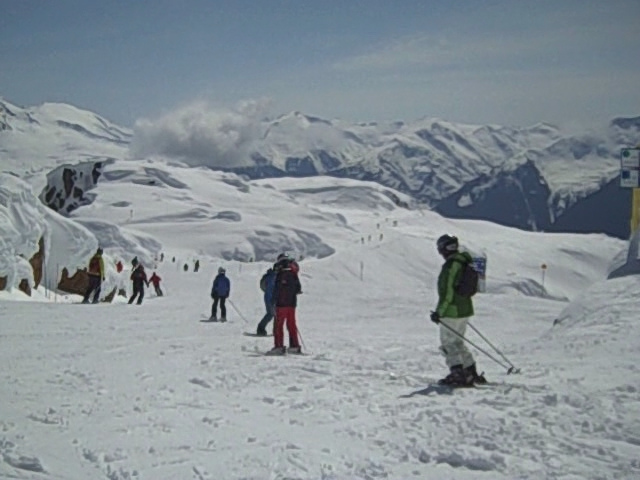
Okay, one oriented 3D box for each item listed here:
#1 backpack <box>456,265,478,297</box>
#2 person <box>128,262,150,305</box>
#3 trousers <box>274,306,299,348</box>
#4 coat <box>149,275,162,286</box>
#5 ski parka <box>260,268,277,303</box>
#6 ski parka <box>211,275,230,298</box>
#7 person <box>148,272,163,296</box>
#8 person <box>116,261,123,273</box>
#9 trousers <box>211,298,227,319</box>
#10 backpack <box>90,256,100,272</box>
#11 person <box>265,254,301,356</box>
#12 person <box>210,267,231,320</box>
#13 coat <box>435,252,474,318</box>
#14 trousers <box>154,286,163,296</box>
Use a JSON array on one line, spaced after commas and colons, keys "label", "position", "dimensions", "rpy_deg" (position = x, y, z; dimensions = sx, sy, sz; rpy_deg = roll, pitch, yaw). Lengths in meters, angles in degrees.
[{"label": "backpack", "position": [3.806, 1.066, 16.870], "dimensions": [0.428, 0.838, 0.586], "rpy_deg": [12, -7, 25]}, {"label": "person", "position": [-8.031, 1.970, 28.697], "dimensions": [0.792, 1.767, 0.908], "rpy_deg": [2, -11, 11]}, {"label": "trousers", "position": [-1.051, 2.649, 19.824], "dimensions": [0.849, 1.270, 0.550], "rpy_deg": [2, 2, -23]}, {"label": "coat", "position": [-8.764, 2.122, 34.460], "dimensions": [0.431, 0.614, 1.277], "rpy_deg": [3, 2, -11]}, {"label": "ski parka", "position": [-1.819, 1.638, 23.226], "dimensions": [0.431, 1.125, 0.822], "rpy_deg": [11, 20, 8]}, {"label": "ski parka", "position": [-3.887, 1.818, 25.518], "dimensions": [0.669, 0.906, 0.446], "rpy_deg": [5, 3, 42]}, {"label": "person", "position": [-8.867, 2.362, 35.122], "dimensions": [0.680, 1.263, 2.585], "rpy_deg": [2, 2, -14]}, {"label": "person", "position": [-12.120, 1.629, 39.070], "dimensions": [0.536, 0.743, 0.271], "rpy_deg": [-2, 14, -24]}, {"label": "trousers", "position": [-4.007, 2.687, 25.634], "dimensions": [0.574, 0.850, 0.865], "rpy_deg": [3, 2, -9]}, {"label": "backpack", "position": [-8.470, 0.895, 24.416], "dimensions": [0.398, 0.527, 0.143], "rpy_deg": [8, -18, 5]}, {"label": "person", "position": [-1.071, 1.939, 19.762], "dimensions": [0.969, 2.981, 1.014], "rpy_deg": [3, 2, -2]}, {"label": "person", "position": [-3.994, 2.143, 25.830], "dimensions": [0.684, 2.097, 1.339], "rpy_deg": [3, 2, -8]}, {"label": "coat", "position": [3.656, 1.201, 17.452], "dimensions": [1.108, 1.999, 1.531], "rpy_deg": [2, 8, 23]}, {"label": "trousers", "position": [-8.729, 2.714, 34.971], "dimensions": [0.384, 0.581, 1.335], "rpy_deg": [2, 2, -15]}]
